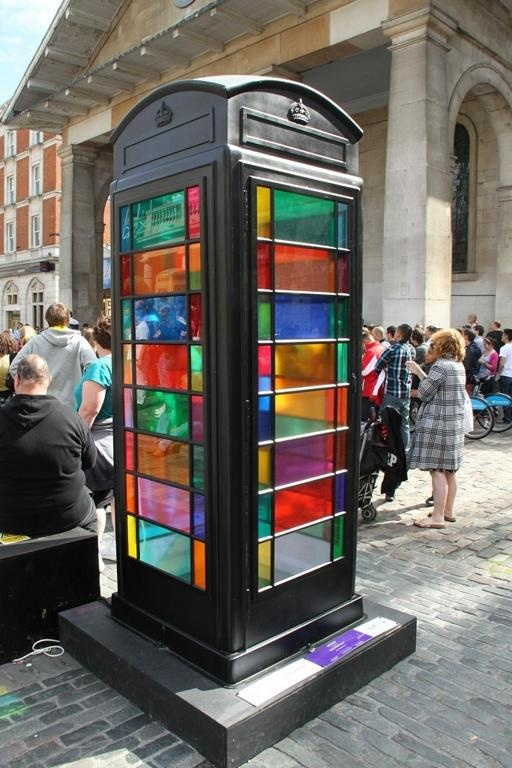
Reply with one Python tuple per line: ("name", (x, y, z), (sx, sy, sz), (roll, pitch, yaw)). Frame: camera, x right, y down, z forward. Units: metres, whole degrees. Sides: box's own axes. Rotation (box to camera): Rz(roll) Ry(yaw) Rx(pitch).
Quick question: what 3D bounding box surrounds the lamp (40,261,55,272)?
("lamp", (-11.041, -6.207, 34.769), (0.668, 0.475, 0.476), (0, 5, 0))
